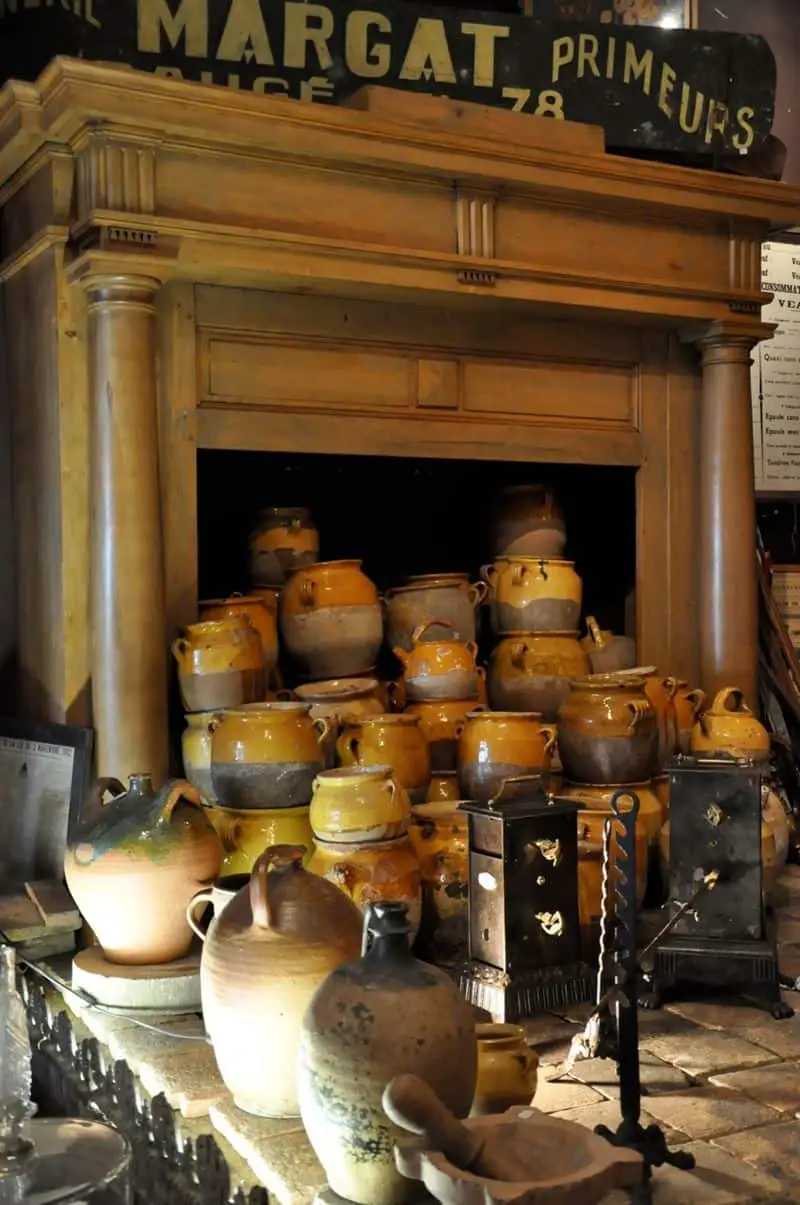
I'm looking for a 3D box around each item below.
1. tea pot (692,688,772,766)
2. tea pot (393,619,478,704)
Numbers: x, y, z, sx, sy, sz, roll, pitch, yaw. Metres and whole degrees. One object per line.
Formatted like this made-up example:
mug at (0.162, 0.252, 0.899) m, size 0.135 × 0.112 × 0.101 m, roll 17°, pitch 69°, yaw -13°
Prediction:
tea pot at (1.210, 0.507, 4.382) m, size 0.288 × 0.371 × 0.287 m, roll 3°, pitch 0°, yaw 0°
tea pot at (0.136, 0.221, 4.399) m, size 0.326 × 0.305 × 0.253 m, roll -5°, pitch 3°, yaw -9°
